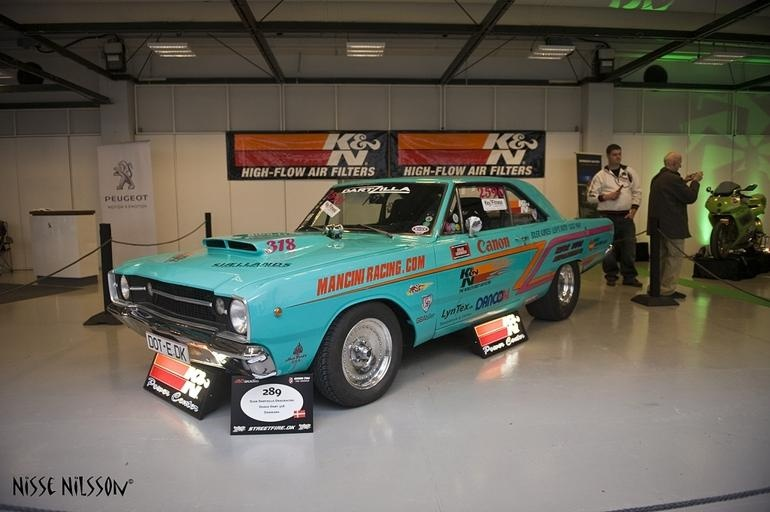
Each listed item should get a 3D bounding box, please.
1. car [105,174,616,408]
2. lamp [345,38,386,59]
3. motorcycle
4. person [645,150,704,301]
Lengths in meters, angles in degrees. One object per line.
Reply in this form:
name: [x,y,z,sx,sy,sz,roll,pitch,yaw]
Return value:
car: [-0.053,0.246,5.763,5.300,2.255,1.440,-7,12,-30]
lamp: [-0.431,-4.009,9.571,0.715,0.217,0.807,8,18,22]
motorcycle: [7.135,-0.760,10.063,1.625,1.468,0.539,-5,11,-19]
person: [4.627,-0.479,8.104,1.272,2.380,0.634,-7,11,-29]
